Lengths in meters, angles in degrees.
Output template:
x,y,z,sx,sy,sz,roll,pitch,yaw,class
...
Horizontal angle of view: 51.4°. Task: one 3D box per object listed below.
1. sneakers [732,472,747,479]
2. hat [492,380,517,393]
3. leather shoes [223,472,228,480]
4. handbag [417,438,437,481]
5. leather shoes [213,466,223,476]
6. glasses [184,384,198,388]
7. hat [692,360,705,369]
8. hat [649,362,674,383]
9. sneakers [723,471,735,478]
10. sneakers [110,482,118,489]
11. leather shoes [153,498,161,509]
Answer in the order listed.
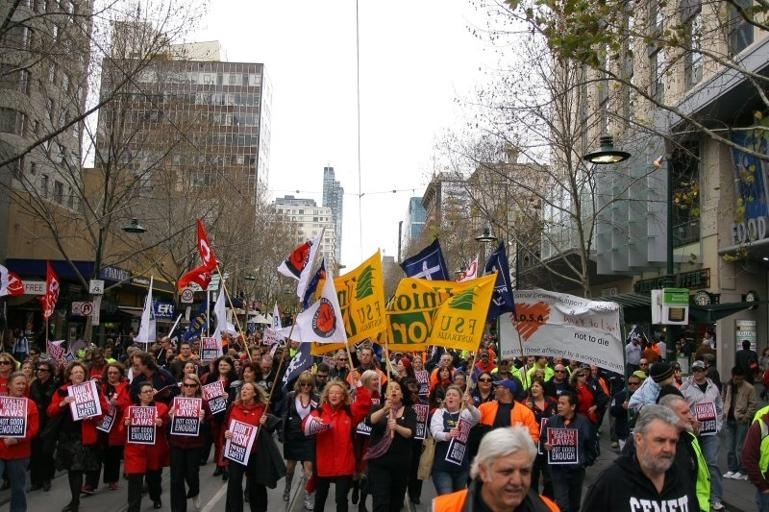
x,y,z,sx,sy,sz,roll,pitch,yaw,class
8.962,5.498,20.103,0.405,0.167,0.145,9,-18,-14,sneakers
2.555,2.671,16.684,0.366,0.201,0.244,10,-11,15,hat
-3.810,5.240,19.120,0.118,0.161,0.393,7,-4,-9,leather shoes
0.891,4.233,16.753,0.273,0.805,0.440,8,-7,3,handbag
-4.160,5.327,19.834,0.143,0.258,0.359,-12,-19,25,leather shoes
-4.262,2.817,17.513,0.263,0.086,0.101,5,-10,-15,glasses
7.155,2.461,18.104,0.278,0.224,0.446,-1,-10,18,hat
5.508,2.256,15.836,0.373,0.267,0.390,-10,24,24,hat
8.730,5.482,20.158,0.274,0.125,0.103,1,-6,-2,sneakers
-6.404,5.394,18.905,0.167,0.171,0.122,0,-3,1,sneakers
-5.025,5.435,17.651,0.179,0.281,0.151,-1,-27,1,leather shoes
